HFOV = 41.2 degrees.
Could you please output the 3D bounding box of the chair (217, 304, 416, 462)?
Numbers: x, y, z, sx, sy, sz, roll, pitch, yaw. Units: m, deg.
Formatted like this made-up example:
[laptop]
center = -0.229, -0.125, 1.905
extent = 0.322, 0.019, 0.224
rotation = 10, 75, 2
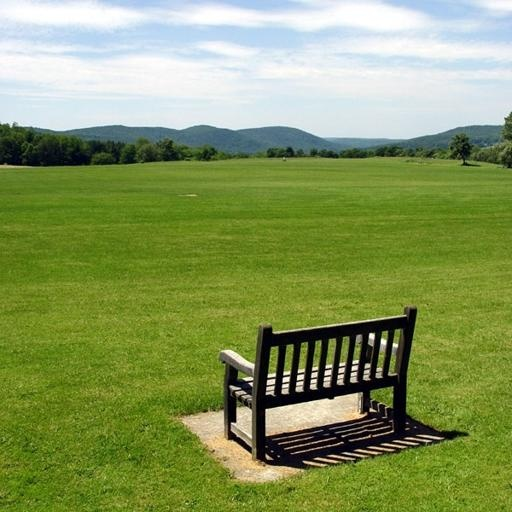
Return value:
[chair]
center = 0.587, 1.160, 7.745
extent = 2.179, 1.398, 1.765
rotation = -6, 14, -27
